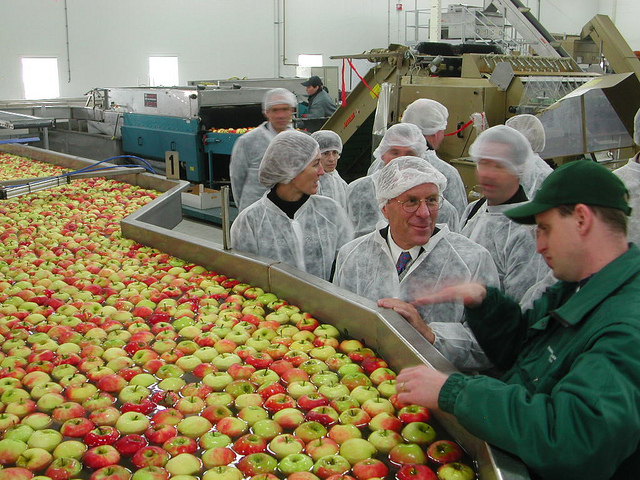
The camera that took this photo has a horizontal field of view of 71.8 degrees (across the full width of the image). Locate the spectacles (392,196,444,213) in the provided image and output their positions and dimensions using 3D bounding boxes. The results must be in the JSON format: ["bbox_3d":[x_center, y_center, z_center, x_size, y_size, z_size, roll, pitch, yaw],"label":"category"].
[{"bbox_3d":[0.511,-0.195,2.329,0.227,0.082,0.065,1,13,-1],"label":"spectacles"}]

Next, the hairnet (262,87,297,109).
[{"bbox_3d":[-0.464,-1.595,5.033,0.411,0.212,0.467,-1,9,-3],"label":"hairnet"}]

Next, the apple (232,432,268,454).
[{"bbox_3d":[-0.244,0.705,1.558,0.068,0.061,0.066,3,10,-15],"label":"apple"}]

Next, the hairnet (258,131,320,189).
[{"bbox_3d":[-0.212,-0.557,3.033,0.284,0.387,0.350,13,18,42],"label":"hairnet"}]

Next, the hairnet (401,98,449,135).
[{"bbox_3d":[1.051,-1.256,4.465,0.360,0.394,0.278,-12,21,-32],"label":"hairnet"}]

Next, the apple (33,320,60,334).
[{"bbox_3d":[-1.444,0.442,2.323,0.076,0.069,0.075,2,20,-13],"label":"apple"}]

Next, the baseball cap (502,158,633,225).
[{"bbox_3d":[0.813,-0.166,1.472,0.317,0.171,0.201,5,6,18],"label":"baseball cap"}]

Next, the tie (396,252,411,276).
[{"bbox_3d":[0.455,0.126,2.441,0.028,0.115,0.067,20,-7,42],"label":"tie"}]

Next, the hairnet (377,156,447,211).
[{"bbox_3d":[0.493,-0.333,2.437,0.294,0.272,0.218,13,20,40],"label":"hairnet"}]

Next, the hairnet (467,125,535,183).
[{"bbox_3d":[1.229,-0.618,2.987,0.290,0.394,0.343,-14,20,-39],"label":"hairnet"}]

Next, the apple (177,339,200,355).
[{"bbox_3d":[-0.650,0.515,2.160,0.067,0.046,0.069,-1,4,11],"label":"apple"}]

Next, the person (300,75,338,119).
[{"bbox_3d":[-0.017,-3.133,9.565,0.740,0.871,1.086,-4,38,-6],"label":"person"}]

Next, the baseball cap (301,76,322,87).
[{"bbox_3d":[-0.186,-3.371,9.264,0.352,0.179,0.224,0,27,2],"label":"baseball cap"}]

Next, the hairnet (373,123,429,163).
[{"bbox_3d":[0.755,-0.888,3.950,0.410,0.353,0.282,8,19,29],"label":"hairnet"}]

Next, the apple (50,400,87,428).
[{"bbox_3d":[-0.968,0.659,1.701,0.087,0.086,0.080,-22,58,-10],"label":"apple"}]

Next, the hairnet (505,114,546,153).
[{"bbox_3d":[1.838,-1.013,3.984,0.270,0.410,0.303,-15,25,-37],"label":"hairnet"}]

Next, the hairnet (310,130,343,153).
[{"bbox_3d":[0.064,-1.018,4.552,0.288,0.179,0.293,1,12,-11],"label":"hairnet"}]

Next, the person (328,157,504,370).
[{"bbox_3d":[0.506,0.221,2.503,1.007,1.337,0.806,8,17,27],"label":"person"}]
